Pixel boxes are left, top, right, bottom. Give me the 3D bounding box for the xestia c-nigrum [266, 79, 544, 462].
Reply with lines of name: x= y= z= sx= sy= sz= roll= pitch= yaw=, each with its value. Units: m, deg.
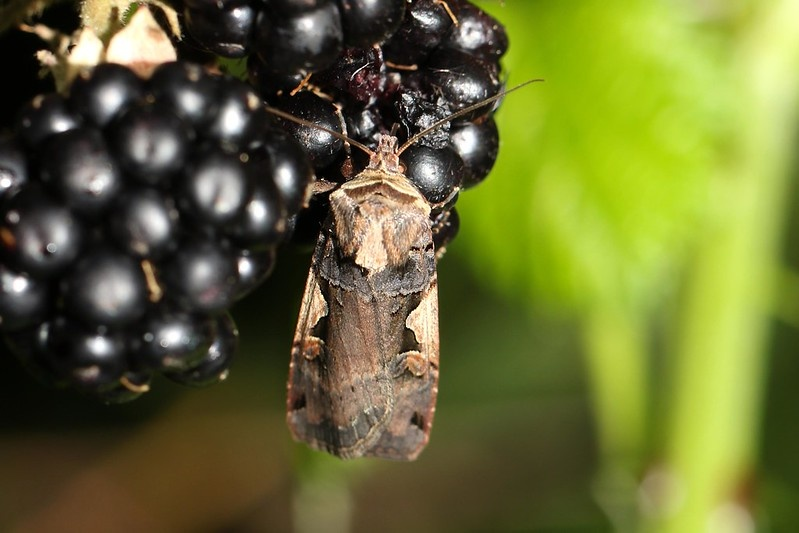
xestia c-nigrum: x=-0.093 y=0.068 z=2.641 sx=0.907 sy=1.077 sz=0.291 roll=2 pitch=-4 yaw=2
